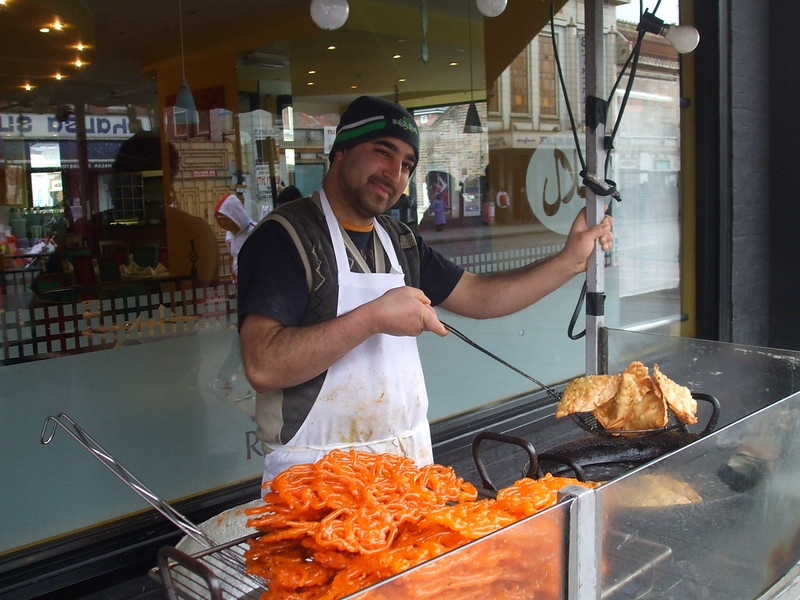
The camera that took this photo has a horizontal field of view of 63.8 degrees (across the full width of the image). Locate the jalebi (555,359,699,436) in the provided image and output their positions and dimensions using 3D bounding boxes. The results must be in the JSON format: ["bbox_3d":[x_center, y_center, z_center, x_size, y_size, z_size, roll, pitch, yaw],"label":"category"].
[{"bbox_3d":[0.883,0.379,2.444,0.321,0.153,0.323,-4,6,-10],"label":"jalebi"}]

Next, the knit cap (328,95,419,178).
[{"bbox_3d":[-0.079,-0.590,2.277,0.238,0.173,0.227,-8,-9,24],"label":"knit cap"}]

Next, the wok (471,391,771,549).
[{"bbox_3d":[0.783,0.544,2.323,0.573,0.206,0.506,-6,2,-34],"label":"wok"}]
